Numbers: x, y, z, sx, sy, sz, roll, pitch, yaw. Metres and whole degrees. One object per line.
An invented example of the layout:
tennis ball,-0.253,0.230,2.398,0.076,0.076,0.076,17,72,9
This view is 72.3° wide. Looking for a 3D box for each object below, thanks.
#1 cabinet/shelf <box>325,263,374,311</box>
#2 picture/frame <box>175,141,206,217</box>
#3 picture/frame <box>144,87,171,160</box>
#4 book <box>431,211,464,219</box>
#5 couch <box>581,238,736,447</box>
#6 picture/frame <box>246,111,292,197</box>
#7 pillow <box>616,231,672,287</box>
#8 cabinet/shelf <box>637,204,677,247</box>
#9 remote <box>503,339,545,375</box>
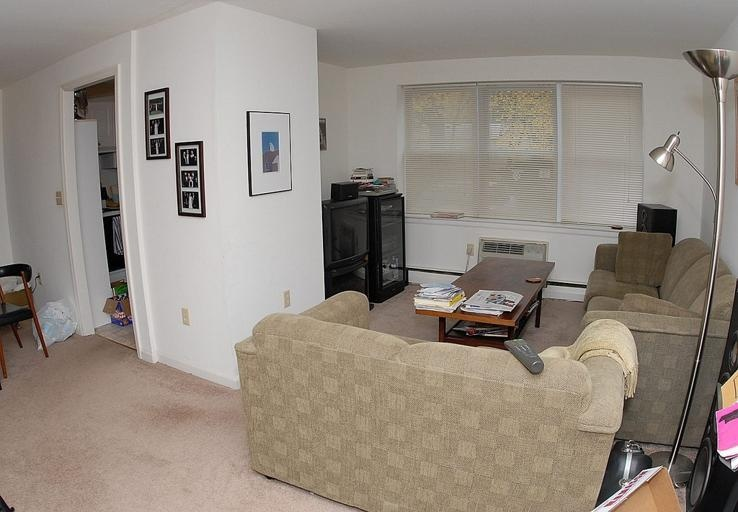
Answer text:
cabinet/shelf,-0.243,0.290,5.714,0.476,0.623,0.667,0,3,24
picture/frame,-1.486,-0.630,4.198,0.359,0.607,0.071,7,15,34
picture/frame,-1.821,-1.117,4.345,0.327,0.578,0.059,7,14,31
book,1.019,-0.516,6.595,0.406,0.090,0.118,2,13,14
couch,2.002,0.593,3.442,0.495,0.551,1.386,6,15,25
picture/frame,-0.876,-0.878,4.328,0.058,0.858,0.646,11,17,38
pillow,2.781,0.035,5.169,0.525,0.536,0.163,12,3,25
cabinet/shelf,2.992,-0.300,5.261,0.257,0.449,0.469,1,1,9
remote,0.821,0.515,2.665,0.118,0.050,0.203,-10,27,-14
